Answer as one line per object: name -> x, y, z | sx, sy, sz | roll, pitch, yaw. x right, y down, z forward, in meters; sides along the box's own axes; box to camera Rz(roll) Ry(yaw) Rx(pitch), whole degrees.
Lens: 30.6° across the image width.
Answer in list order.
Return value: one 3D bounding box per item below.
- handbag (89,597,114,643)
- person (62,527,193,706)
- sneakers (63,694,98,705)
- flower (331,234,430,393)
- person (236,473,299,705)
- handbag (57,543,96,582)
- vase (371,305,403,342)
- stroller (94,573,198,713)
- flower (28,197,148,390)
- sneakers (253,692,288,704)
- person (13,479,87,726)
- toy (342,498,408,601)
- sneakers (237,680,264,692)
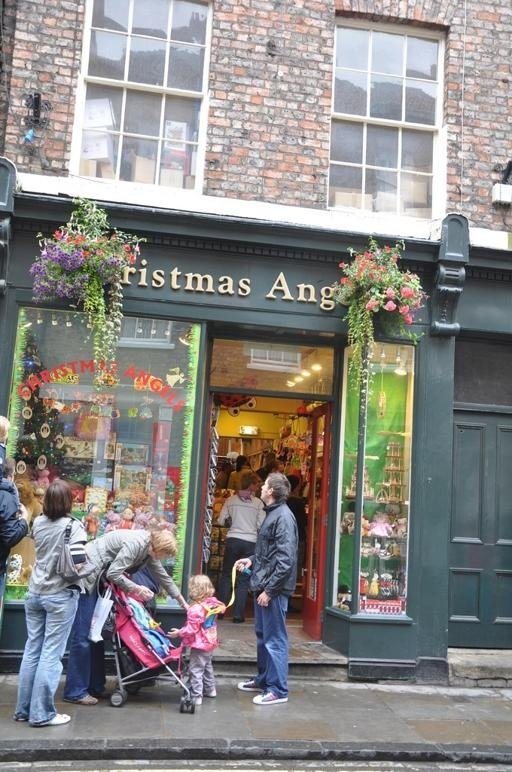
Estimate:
handbag -> -1.108, 1.681, 6.751 | 0.145, 0.342, 0.306 | 5, -3, -8
person -> -0.965, 1.678, 6.890 | 0.910, 1.224, 0.491 | 0, -10, -2
sneakers -> -1.264, 2.269, 6.769 | 0.231, 0.078, 0.081 | 0, -7, 2
flower -> 1.091, -0.698, 8.491 | 0.811, 1.257, 0.863 | 4, -3, 21
person -> 0.122, 1.565, 7.351 | 0.437, 1.753, 0.500 | 7, -4, -30
handbag -> -1.195, 1.197, 6.285 | 0.129, 0.282, 0.268 | 2, -4, 39
vase -> 1.217, -0.548, 8.587 | 0.280, 0.222, 0.268 | -1, 5, 7
stroller -> -0.807, 1.893, 6.927 | 0.792, 0.931, 0.626 | 5, -3, -8
flower -> -1.387, -0.967, 8.059 | 0.710, 1.128, 0.792 | -10, -1, -13
sneakers -> 0.109, 2.375, 7.088 | 0.272, 0.096, 0.088 | 6, -8, -18
person -> -1.359, 1.455, 6.295 | 0.388, 1.069, 0.302 | 6, -4, -9
toy -> 1.180, 1.558, 8.561 | 0.427, 0.956, 0.253 | 5, -3, 1
sneakers -> -0.041, 2.391, 7.504 | 0.232, 0.091, 0.090 | 5, -4, -1
